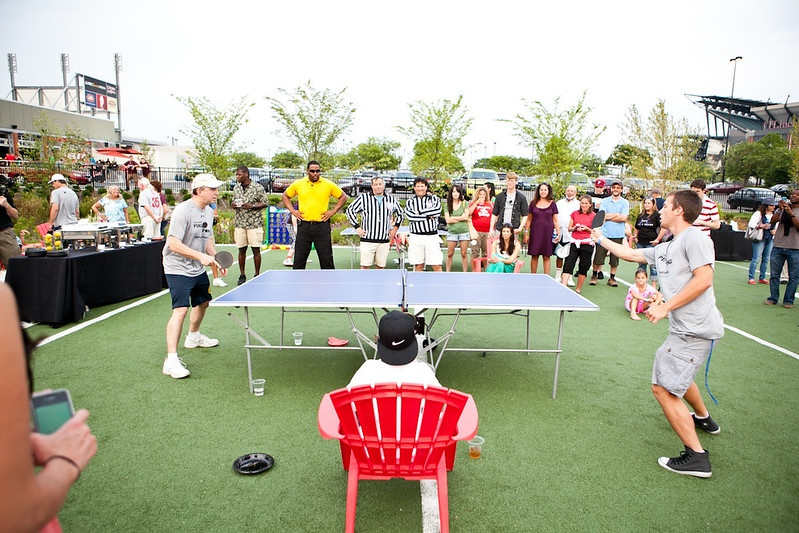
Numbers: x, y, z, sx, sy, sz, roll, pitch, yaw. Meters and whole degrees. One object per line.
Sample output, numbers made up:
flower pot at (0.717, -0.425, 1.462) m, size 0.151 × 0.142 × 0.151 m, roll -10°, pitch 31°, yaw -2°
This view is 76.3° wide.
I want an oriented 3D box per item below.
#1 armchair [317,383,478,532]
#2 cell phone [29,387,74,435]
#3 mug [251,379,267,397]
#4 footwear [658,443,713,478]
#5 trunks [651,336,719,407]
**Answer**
armchair at (-0.024, 1.294, 3.900) m, size 1.125 × 1.453 × 1.094 m, roll -1°, pitch 42°, yaw -2°
cell phone at (-1.771, 0.748, 2.608) m, size 0.255 × 0.220 × 0.150 m, roll 4°, pitch 13°, yaw 22°
mug at (-1.446, 1.246, 5.278) m, size 0.147 × 0.118 × 0.146 m, roll 1°, pitch 8°, yaw 32°
footwear at (2.407, 1.633, 4.340) m, size 0.463 × 0.278 × 0.189 m, roll 4°, pitch 0°, yaw 19°
trunks at (2.396, 0.812, 4.309) m, size 0.426 × 0.543 × 0.257 m, roll -4°, pitch 12°, yaw -16°
